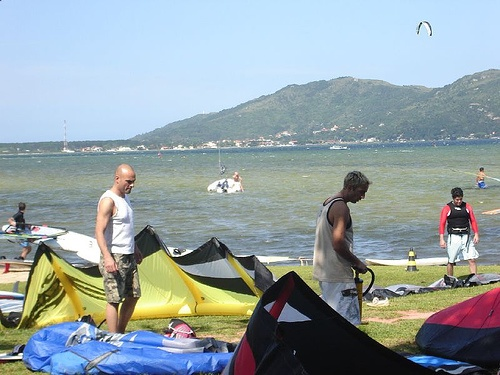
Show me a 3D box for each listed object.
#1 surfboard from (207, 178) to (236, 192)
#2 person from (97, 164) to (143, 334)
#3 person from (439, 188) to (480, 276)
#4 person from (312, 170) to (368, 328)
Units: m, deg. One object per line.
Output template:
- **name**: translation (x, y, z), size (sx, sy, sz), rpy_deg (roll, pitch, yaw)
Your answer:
- **surfboard**: translation (-1.827, -0.132, 55.384), size (1.586, 0.696, 2.149), rpy_deg (-5, 4, -32)
- **person**: translation (-2.084, 0.972, 13.940), size (0.736, 2.663, 0.351), rpy_deg (-6, 5, -35)
- **person**: translation (4.355, 0.938, 18.422), size (0.749, 1.901, 0.639), rpy_deg (-2, 4, 11)
- **person**: translation (1.376, 0.970, 13.343), size (0.878, 2.390, 0.540), rpy_deg (-3, 4, 2)
